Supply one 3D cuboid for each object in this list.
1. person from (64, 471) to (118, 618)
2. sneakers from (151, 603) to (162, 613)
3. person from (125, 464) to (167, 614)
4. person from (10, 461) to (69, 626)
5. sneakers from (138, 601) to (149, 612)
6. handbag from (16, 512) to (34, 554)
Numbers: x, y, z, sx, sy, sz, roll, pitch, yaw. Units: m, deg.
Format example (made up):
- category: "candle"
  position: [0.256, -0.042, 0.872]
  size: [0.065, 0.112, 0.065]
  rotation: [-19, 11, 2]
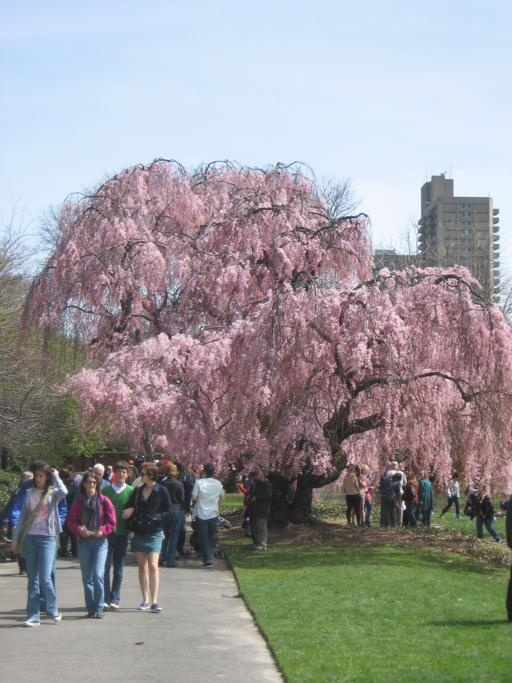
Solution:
- category: "person"
  position: [-1.854, 2.274, 11.340]
  size: [0.528, 1.583, 0.681]
  rotation: [1, -5, -18]
- category: "sneakers"
  position: [-1.149, 3.033, 11.487]
  size: [0.059, 0.087, 0.187]
  rotation: [1, -15, -15]
- category: "person"
  position: [-1.308, 2.280, 11.743]
  size: [0.532, 1.667, 0.850]
  rotation: [0, -5, 0]
- category: "person"
  position: [-2.388, 2.187, 10.995]
  size: [0.573, 1.701, 0.976]
  rotation: [1, -5, -12]
- category: "sneakers"
  position: [-1.307, 3.060, 11.624]
  size: [0.131, 0.081, 0.191]
  rotation: [0, -6, -7]
- category: "handbag"
  position: [-2.553, 2.083, 10.975]
  size: [0.159, 0.453, 0.347]
  rotation: [2, -6, -23]
